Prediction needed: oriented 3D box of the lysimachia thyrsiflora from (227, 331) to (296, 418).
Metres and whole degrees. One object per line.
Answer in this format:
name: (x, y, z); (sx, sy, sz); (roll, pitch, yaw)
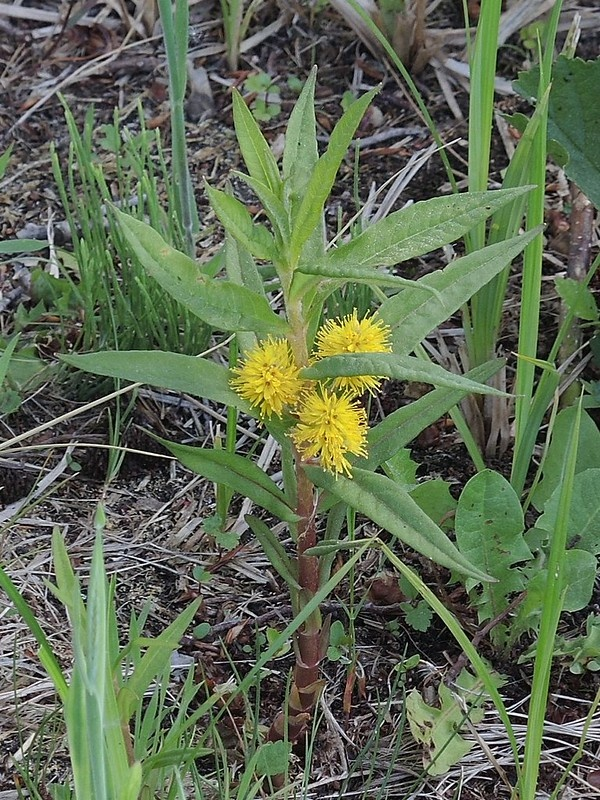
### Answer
lysimachia thyrsiflora: (-0.033, -0.031, 1.030); (0.098, 0.051, 0.088); (-11, 83, 19)

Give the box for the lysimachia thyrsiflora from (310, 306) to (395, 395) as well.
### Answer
lysimachia thyrsiflora: (0.062, -0.058, 1.016); (0.119, 0.106, 0.107); (-2, 87, 0)
